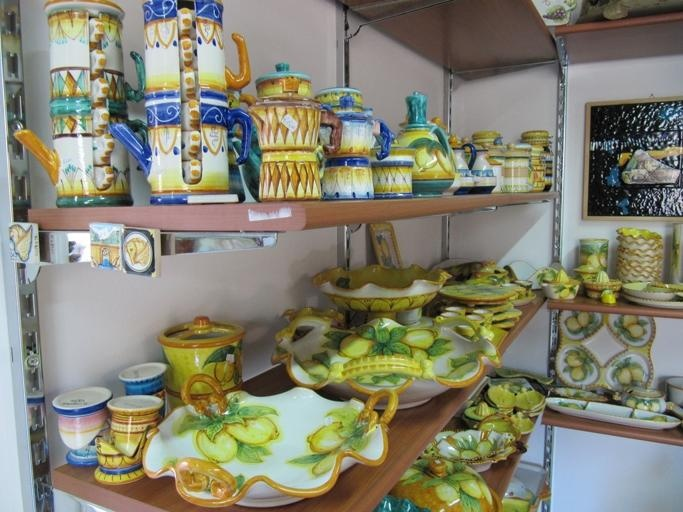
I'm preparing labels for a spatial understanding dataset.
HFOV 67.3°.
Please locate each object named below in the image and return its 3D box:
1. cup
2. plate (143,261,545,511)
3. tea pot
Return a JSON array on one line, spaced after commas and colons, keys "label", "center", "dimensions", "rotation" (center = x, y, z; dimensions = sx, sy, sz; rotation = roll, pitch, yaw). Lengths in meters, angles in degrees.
[{"label": "cup", "center": [-0.351, 0.264, 0.847], "dimensions": [0.143, 0.111, 0.169], "rotation": [9, 0, 26]}, {"label": "plate", "center": [-0.036, 0.171, 0.856], "dimensions": [0.301, 0.079, 0.438], "rotation": [15, 15, 27]}, {"label": "tea pot", "center": [-0.135, -0.240, 0.836], "dimensions": [0.712, 0.303, 0.357], "rotation": [-5, 7, -28]}]
